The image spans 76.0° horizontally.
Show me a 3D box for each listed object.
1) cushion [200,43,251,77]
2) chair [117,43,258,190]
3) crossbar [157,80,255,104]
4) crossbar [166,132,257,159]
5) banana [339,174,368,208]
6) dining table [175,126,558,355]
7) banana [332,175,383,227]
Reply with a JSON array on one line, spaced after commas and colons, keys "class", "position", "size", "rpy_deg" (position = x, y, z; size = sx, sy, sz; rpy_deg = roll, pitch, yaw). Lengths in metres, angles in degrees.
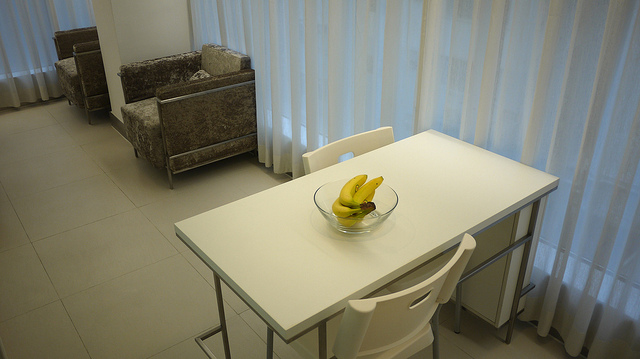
[{"class": "cushion", "position": [-1.143, -1.356, 4.770], "size": [0.612, 0.345, 0.104], "rpy_deg": [25, 31, 25]}, {"class": "chair", "position": [-1.542, -0.874, 4.781], "size": [1.305, 1.112, 1.254], "rpy_deg": [-18, 37, -30]}, {"class": "crossbar", "position": [-1.180, -0.928, 4.294], "size": [0.938, 0.070, 0.099], "rpy_deg": [-16, 19, -18]}, {"class": "crossbar", "position": [-1.163, -0.387, 4.513], "size": [1.004, 0.097, 0.045], "rpy_deg": [-15, 37, -25]}, {"class": "banana", "position": [0.211, 0.095, 2.547], "size": [0.156, 0.064, 0.272], "rpy_deg": [6, 26, 25]}, {"class": "dining table", "position": [0.418, 0.449, 2.730], "size": [1.553, 1.009, 0.777], "rpy_deg": [-24, 40, -31]}, {"class": "banana", "position": [0.236, 0.093, 2.533], "size": [0.236, 0.132, 0.372], "rpy_deg": [37, 52, 26]}]
